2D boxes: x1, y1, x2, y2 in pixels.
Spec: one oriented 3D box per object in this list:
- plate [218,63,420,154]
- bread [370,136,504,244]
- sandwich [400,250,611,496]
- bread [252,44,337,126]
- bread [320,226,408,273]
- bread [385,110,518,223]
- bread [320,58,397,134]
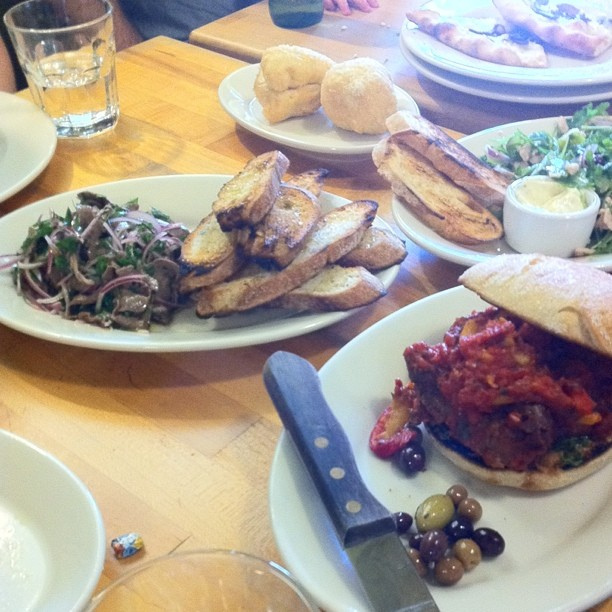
[{"bbox_3d":[-0.048,-0.497,1.776,0.445,0.069,0.353,31,43,29],"label":"plate"},{"bbox_3d":[0.253,-0.252,1.404,0.379,0.197,0.235,-10,23,-20],"label":"bread"},{"bbox_3d":[0.286,0.063,0.925,0.286,0.238,0.345,9,44,6],"label":"sandwich"},{"bbox_3d":[-0.038,-0.599,1.830,0.278,0.211,0.221,-19,28,-26],"label":"bread"},{"bbox_3d":[0.105,-0.108,1.235,0.112,0.026,0.103,9,37,23],"label":"bread"},{"bbox_3d":[0.261,-0.295,1.459,0.301,0.077,0.286,22,25,-25],"label":"bread"},{"bbox_3d":[0.136,-0.558,1.744,0.198,0.146,0.233,3,43,0],"label":"bread"}]
